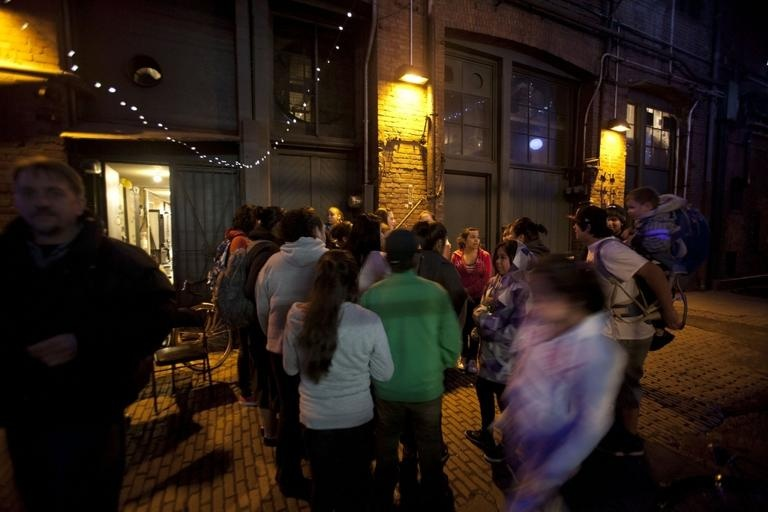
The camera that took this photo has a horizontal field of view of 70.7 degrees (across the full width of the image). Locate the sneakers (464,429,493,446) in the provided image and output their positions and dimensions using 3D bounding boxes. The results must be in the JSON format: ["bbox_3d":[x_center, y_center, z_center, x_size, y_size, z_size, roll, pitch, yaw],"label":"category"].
[{"bbox_3d":[1.325,2.494,7.502,0.157,0.212,0.477,3,-2,-20],"label":"sneakers"}]

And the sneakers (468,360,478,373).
[{"bbox_3d":[1.493,1.843,9.109,0.141,0.211,0.199,5,-8,-24],"label":"sneakers"}]

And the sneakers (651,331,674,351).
[{"bbox_3d":[3.764,1.108,7.323,0.308,0.288,0.181,-5,10,-31],"label":"sneakers"}]

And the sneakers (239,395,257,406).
[{"bbox_3d":[-2.055,2.186,8.254,0.124,0.146,0.301,5,5,32],"label":"sneakers"}]

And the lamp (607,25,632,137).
[{"bbox_3d":[5.805,-4.313,13.262,0.475,2.567,0.845,3,9,22],"label":"lamp"}]
